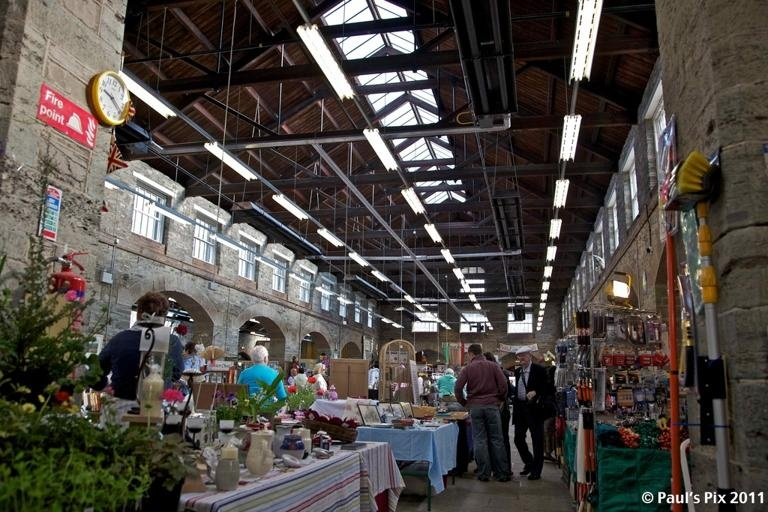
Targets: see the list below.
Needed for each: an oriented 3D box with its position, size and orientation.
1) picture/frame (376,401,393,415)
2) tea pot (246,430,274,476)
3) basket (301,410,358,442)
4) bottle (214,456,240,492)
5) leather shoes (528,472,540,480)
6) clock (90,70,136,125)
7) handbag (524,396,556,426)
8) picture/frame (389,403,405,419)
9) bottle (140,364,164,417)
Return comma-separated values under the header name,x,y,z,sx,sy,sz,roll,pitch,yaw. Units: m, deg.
name,x,y,z,sx,sy,sz,roll,pitch,yaw
picture/frame,0.007,1.881,6.545,0.185,0.047,0.171,3,-38,3
tea pot,-0.770,1.233,3.320,0.191,0.244,0.186,5,-8,1
basket,-0.456,1.422,4.447,0.304,0.091,0.317,-5,-28,36
bottle,-0.902,1.240,2.997,0.154,0.150,0.163,-16,-22,32
leather shoes,2.239,3.277,7.924,0.234,0.083,0.128,2,-18,-10
clock,-2.070,-1.186,4.045,0.115,0.445,0.383,-4,-18,9
handbag,2.440,2.347,8.134,0.466,0.419,0.331,-5,-8,28
picture/frame,0.176,2.020,6.935,0.058,0.190,0.225,-35,-38,32
bottle,-1.276,0.744,2.926,0.127,0.295,0.356,7,-19,-22
